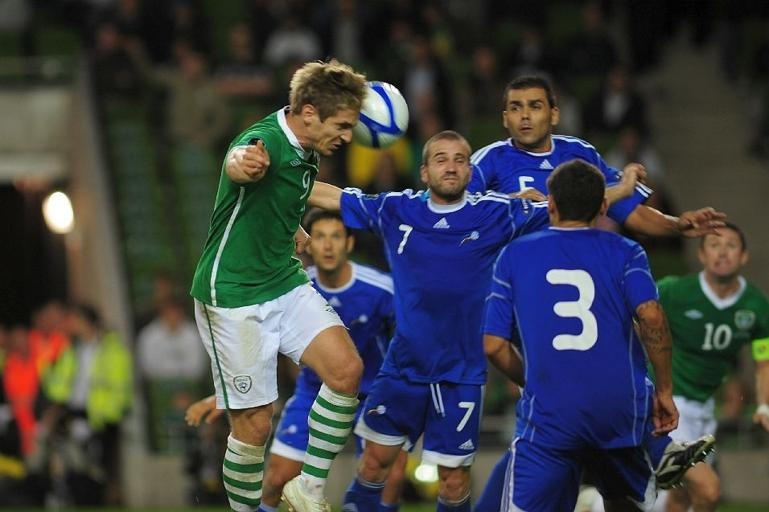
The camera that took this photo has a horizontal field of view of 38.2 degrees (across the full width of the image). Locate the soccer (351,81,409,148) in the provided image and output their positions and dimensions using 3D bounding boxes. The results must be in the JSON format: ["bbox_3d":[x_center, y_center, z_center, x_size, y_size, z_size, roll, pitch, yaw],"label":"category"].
[{"bbox_3d":[-0.027,-1.400,11.042,0.533,0.664,0.311,1,-1,-7],"label":"soccer"}]
